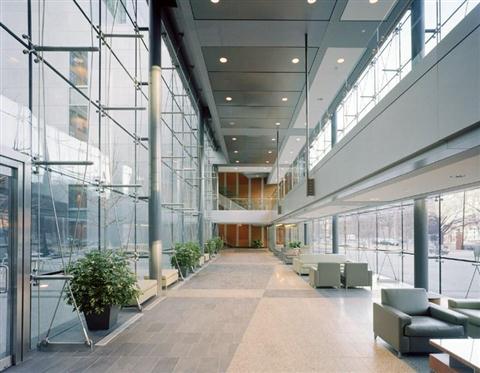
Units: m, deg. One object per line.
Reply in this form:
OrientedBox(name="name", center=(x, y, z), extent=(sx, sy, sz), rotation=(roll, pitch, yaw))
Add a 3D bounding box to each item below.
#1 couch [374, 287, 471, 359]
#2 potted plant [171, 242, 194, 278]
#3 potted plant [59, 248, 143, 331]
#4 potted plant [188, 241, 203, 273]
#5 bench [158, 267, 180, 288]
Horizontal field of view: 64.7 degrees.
OrientedBox(name="couch", center=(3.113, 2.392, 6.778), extent=(0.941, 0.850, 1.082), rotation=(0, -19, 1))
OrientedBox(name="potted plant", center=(-1.978, 2.536, 13.059), extent=(1.024, 1.352, 0.991), rotation=(1, -8, -5))
OrientedBox(name="potted plant", center=(-2.836, 2.079, 7.352), extent=(0.971, 1.416, 1.302), rotation=(3, -27, -24))
OrientedBox(name="potted plant", center=(-1.707, 2.699, 14.279), extent=(0.741, 1.251, 1.194), rotation=(1, -6, 2))
OrientedBox(name="bench", center=(-2.187, 2.708, 11.282), extent=(0.421, 0.286, 0.680), rotation=(-1, -2, 1))
